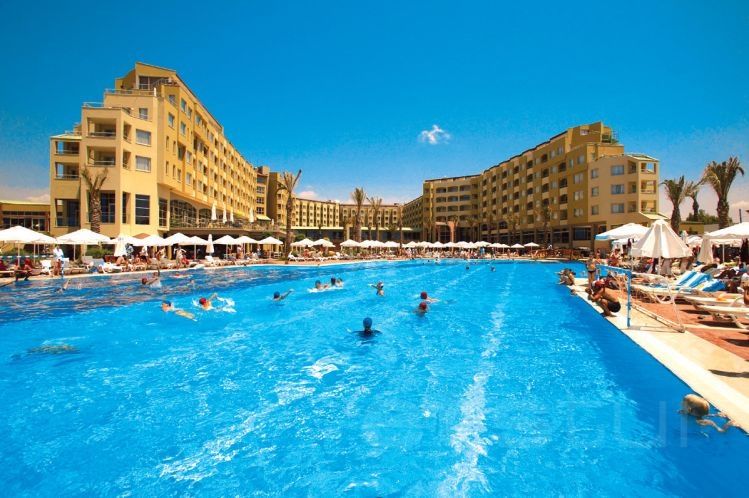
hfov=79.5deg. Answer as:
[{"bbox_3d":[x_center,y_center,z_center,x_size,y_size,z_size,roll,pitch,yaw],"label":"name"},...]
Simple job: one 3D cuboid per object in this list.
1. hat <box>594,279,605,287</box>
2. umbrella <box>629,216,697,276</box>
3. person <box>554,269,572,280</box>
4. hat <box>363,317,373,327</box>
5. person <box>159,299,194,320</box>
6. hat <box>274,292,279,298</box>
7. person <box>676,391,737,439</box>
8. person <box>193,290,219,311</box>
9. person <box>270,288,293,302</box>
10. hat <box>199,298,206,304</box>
[{"bbox_3d":[8.224,1.273,16.529,0.294,0.140,0.371,-2,-1,22],"label":"hat"},{"bbox_3d":[9.360,-0.160,14.654,1.565,1.343,1.601,0,5,31],"label":"umbrella"},{"bbox_3d":[10.335,1.346,24.554,0.906,0.369,1.040,-3,2,8],"label":"person"},{"bbox_3d":[-0.226,2.594,15.962,0.268,0.323,0.331,9,16,2],"label":"hat"},{"bbox_3d":[-7.702,2.356,17.714,1.796,0.390,0.588,7,12,31],"label":"person"},{"bbox_3d":[-4.462,2.126,20.544,0.216,0.193,0.293,7,-38,-15],"label":"hat"},{"bbox_3d":[7.581,3.743,10.346,0.796,0.444,1.034,-11,31,-31],"label":"person"},{"bbox_3d":[-7.262,2.167,19.407,0.947,0.671,2.747,-3,11,-20],"label":"person"},{"bbox_3d":[-4.478,2.272,21.139,0.600,0.294,0.845,-5,5,33],"label":"person"},{"bbox_3d":[-6.995,2.144,18.439,0.218,0.271,0.327,-8,13,-36],"label":"hat"}]
